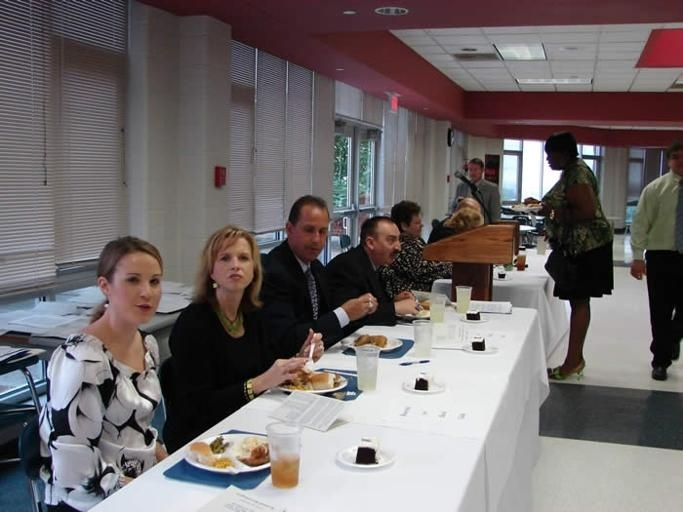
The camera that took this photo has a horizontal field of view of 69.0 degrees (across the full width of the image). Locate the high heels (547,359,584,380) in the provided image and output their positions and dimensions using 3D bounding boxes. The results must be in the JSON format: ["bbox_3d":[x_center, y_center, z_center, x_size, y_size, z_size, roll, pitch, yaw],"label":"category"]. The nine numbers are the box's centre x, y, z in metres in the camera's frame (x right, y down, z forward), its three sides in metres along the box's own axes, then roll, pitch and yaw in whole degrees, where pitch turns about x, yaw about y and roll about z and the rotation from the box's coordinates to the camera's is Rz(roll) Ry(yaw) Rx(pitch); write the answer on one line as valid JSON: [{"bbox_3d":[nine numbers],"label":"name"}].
[{"bbox_3d":[2.002,0.993,4.340,0.412,0.170,0.141,1,3,11],"label":"high heels"}]

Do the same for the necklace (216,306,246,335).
[{"bbox_3d":[-0.442,0.259,1.988,0.044,0.108,0.085,-38,-22,27],"label":"necklace"}]

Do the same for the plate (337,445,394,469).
[{"bbox_3d":[0.062,0.533,1.319,0.152,0.021,0.099,2,8,15],"label":"plate"}]

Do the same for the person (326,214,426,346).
[{"bbox_3d":[0.227,0.080,3.136,0.633,1.126,0.593,-5,7,11],"label":"person"}]

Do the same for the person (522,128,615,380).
[{"bbox_3d":[1.993,0.022,4.387,0.866,2.125,0.723,2,5,36],"label":"person"}]

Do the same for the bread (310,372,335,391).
[{"bbox_3d":[-0.072,0.444,1.791,0.074,0.054,0.057,0,-5,-1],"label":"bread"}]

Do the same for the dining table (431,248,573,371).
[{"bbox_3d":[1.053,0.334,3.245,0.955,0.412,1.593,1,3,26],"label":"dining table"}]

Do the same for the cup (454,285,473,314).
[{"bbox_3d":[0.724,0.270,3.013,0.139,0.193,0.138,1,0,0],"label":"cup"}]

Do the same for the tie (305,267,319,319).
[{"bbox_3d":[-0.152,0.202,2.692,0.070,0.214,0.160,-6,-20,3],"label":"tie"}]

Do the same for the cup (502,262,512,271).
[{"bbox_3d":[1.428,0.093,4.264,0.073,0.082,0.091,0,-2,-1],"label":"cup"}]

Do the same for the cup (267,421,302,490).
[{"bbox_3d":[-0.138,0.474,1.208,0.079,0.170,0.089,-1,8,-8],"label":"cup"}]

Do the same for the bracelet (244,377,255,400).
[{"bbox_3d":[-0.320,0.467,1.740,0.025,0.057,0.056,-5,18,-21],"label":"bracelet"}]
